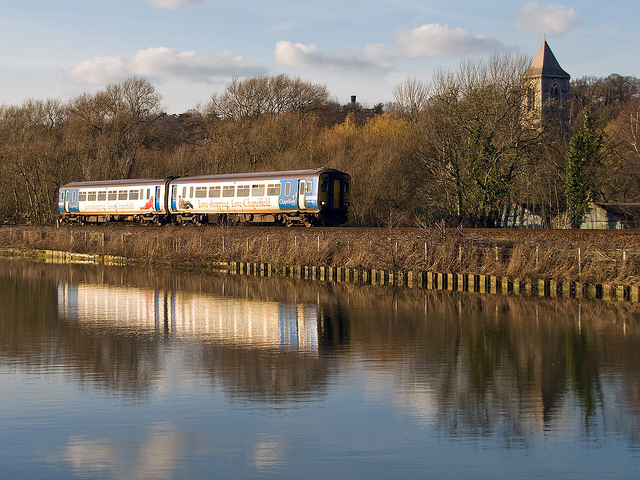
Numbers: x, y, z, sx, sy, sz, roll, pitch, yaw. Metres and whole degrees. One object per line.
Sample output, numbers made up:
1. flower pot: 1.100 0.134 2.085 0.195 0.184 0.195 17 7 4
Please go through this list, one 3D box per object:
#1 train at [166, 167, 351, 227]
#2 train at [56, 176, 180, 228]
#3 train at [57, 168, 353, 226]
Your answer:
1. train: -3.145 -2.242 58.716 10.611 2.759 2.626 0 0 28
2. train: -11.549 -2.204 68.957 2.903 3.701 13.103 0 2 -38
3. train: -5.905 -2.126 62.492 3.106 3.161 18.100 0 2 -42
